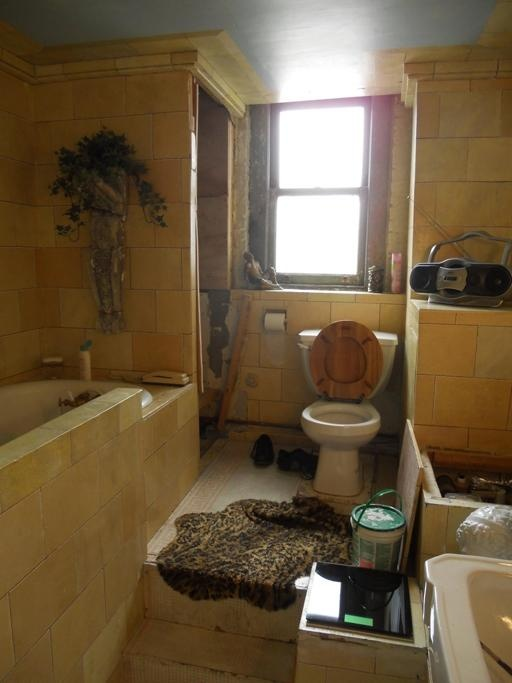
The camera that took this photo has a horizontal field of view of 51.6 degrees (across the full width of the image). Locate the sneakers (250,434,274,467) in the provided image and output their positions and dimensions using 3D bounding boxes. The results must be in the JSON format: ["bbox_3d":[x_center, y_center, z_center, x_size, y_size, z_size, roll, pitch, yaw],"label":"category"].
[{"bbox_3d":[0.042,0.627,3.024,0.100,0.047,0.159,-1,24,0],"label":"sneakers"}]

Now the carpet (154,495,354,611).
[{"bbox_3d":[0.008,0.835,2.175,0.743,0.137,0.693,-1,6,9],"label":"carpet"}]

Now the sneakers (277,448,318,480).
[{"bbox_3d":[0.223,0.671,2.906,0.158,0.052,0.130,10,27,15],"label":"sneakers"}]

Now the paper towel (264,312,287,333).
[{"bbox_3d":[0.121,-0.127,3.255,0.133,0.117,0.120,-2,19,12],"label":"paper towel"}]

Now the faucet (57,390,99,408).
[{"bbox_3d":[-0.727,0.238,2.189,0.083,0.040,0.132,6,14,37],"label":"faucet"}]

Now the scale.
[{"bbox_3d":[0.317,0.811,1.662,0.311,0.050,0.336,-1,6,12],"label":"scale"}]

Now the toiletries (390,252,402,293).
[{"bbox_3d":[0.820,-0.402,3.117,0.058,0.235,0.069,-1,6,18],"label":"toiletries"}]

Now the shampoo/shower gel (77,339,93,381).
[{"bbox_3d":[-0.816,0.092,2.543,0.057,0.191,0.260,-5,6,-19],"label":"shampoo/shower gel"}]

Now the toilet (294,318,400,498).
[{"bbox_3d":[0.452,0.307,2.722,0.525,0.816,0.727,-1,6,14],"label":"toilet"}]
